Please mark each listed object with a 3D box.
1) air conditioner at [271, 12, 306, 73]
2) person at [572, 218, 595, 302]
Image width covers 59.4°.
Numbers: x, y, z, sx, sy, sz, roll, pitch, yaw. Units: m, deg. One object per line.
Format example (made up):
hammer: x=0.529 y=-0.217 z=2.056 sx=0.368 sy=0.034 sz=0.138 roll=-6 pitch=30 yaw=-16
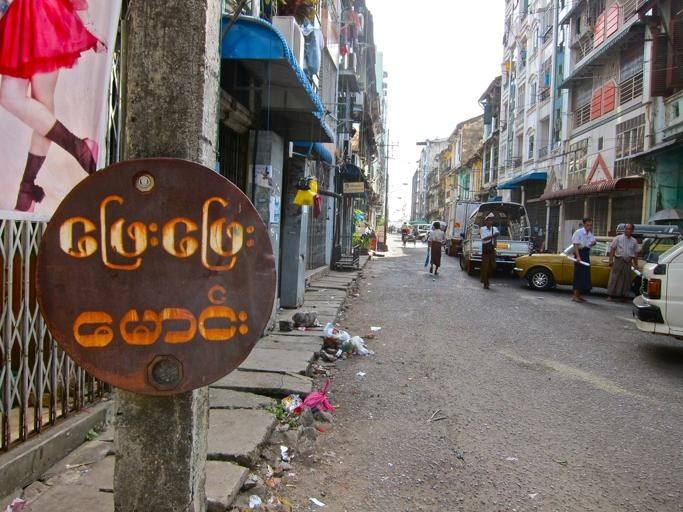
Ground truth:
air conditioner: x=-0.768 y=-3.102 z=8.543 sx=0.467 sy=0.832 sz=1.010 roll=1 pitch=7 yaw=-6
person: x=5.160 y=0.060 z=12.812 sx=0.409 sy=1.741 sz=0.739 roll=5 pitch=7 yaw=23
